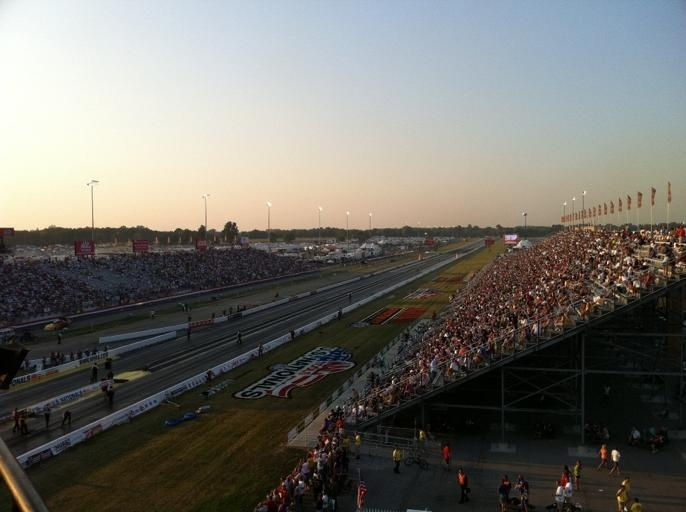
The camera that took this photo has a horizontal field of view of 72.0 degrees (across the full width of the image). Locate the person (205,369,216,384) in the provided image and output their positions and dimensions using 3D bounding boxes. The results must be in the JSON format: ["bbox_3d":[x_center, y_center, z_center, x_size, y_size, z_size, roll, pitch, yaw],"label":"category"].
[{"bbox_3d":[-11.029,9.981,39.306,0.652,0.861,1.463,-5,8,-4],"label":"person"}]

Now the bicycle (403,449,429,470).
[{"bbox_3d":[3.854,10.687,24.755,1.176,0.584,0.561,3,-7,25],"label":"bicycle"}]

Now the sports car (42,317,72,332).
[{"bbox_3d":[-33.541,8.189,56.050,1.396,0.808,2.752,-1,-3,-2],"label":"sports car"}]

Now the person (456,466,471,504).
[{"bbox_3d":[5.580,10.420,22.045,0.509,1.526,1.556,-4,9,12],"label":"person"}]
